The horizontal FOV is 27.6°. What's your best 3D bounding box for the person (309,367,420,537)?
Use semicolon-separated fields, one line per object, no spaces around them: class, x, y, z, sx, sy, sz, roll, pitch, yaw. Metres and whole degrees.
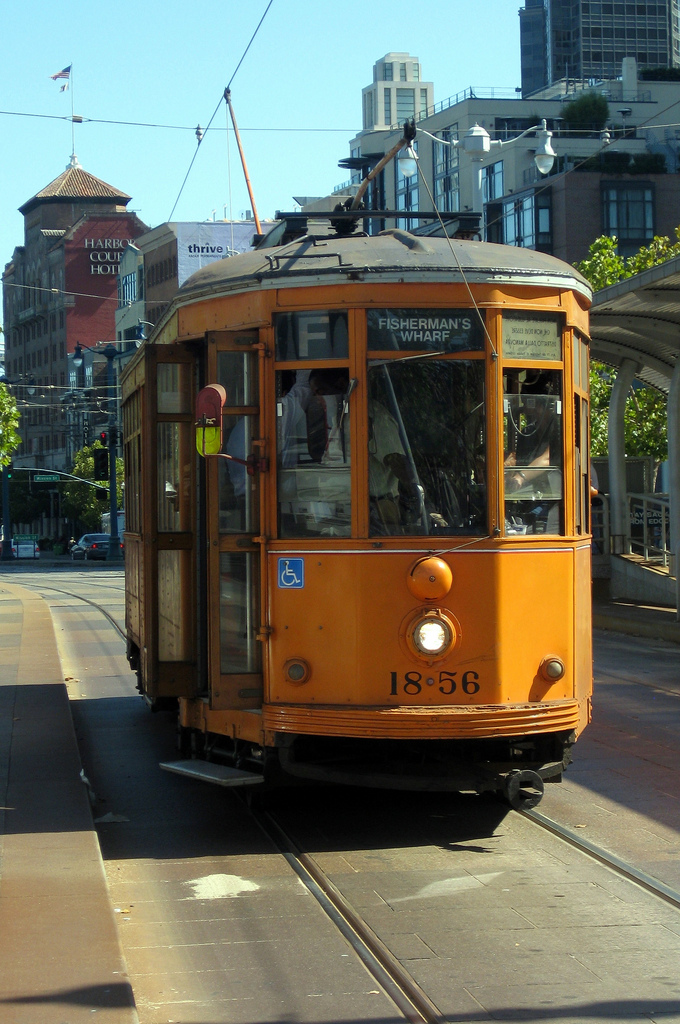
person;0.124;-0.281;6.765;0.430;0.889;0.231;-1;14;24

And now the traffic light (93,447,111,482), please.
traffic light;-7.111;-1.415;41.179;0.414;0.972;0.539;0;0;-6

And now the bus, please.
bus;0.133;0.086;7.109;1.313;1.721;3.401;0;-1;-13
